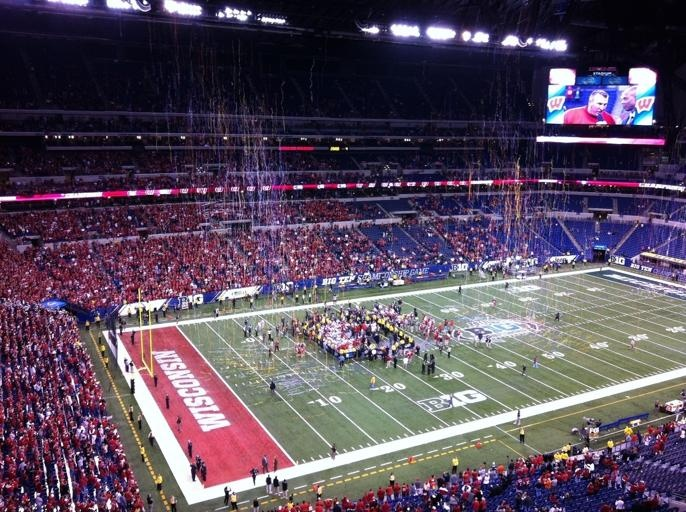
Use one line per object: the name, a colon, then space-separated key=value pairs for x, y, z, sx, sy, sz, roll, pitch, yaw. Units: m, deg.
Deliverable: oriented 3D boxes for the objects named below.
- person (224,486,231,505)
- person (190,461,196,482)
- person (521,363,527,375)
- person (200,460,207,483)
person: x=-6.768 y=14.076 z=40.113 sx=0.446 sy=0.957 sz=0.475 roll=-9 pitch=10 yaw=-8
person: x=-9.001 y=13.157 z=41.409 sx=0.336 sy=1.023 sz=0.398 roll=-4 pitch=11 yaw=18
person: x=13.785 y=8.664 z=52.520 sx=0.499 sy=0.734 sz=1.300 roll=-5 pitch=12 yaw=16
person: x=-8.443 y=13.124 z=41.771 sx=0.392 sy=1.006 sz=1.106 roll=-10 pitch=11 yaw=-15
